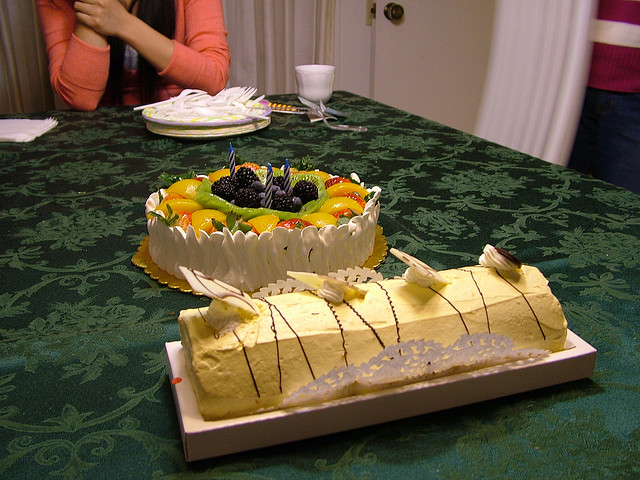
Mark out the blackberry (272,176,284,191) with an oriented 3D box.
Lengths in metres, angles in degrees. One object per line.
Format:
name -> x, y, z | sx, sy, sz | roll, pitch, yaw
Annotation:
blackberry -> -0.119, -0.159, 1.362 | 0.032, 0.023, 0.040 | 10, 23, -19

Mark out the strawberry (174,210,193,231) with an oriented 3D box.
strawberry -> -0.342, -0.054, 1.216 | 0.049, 0.022, 0.049 | 40, 39, 24

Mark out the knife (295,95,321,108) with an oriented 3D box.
knife -> -0.060, -0.712, 2.478 | 0.024, 0.009, 0.163 | -40, 60, -2

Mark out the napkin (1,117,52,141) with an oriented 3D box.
napkin -> -1.230, -0.477, 2.076 | 0.036, 0.056, 0.255 | 4, 27, 41

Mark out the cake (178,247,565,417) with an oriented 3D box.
cake -> 0.095, 0.119, 0.886 | 0.687, 0.244, 0.240 | -4, 21, -17

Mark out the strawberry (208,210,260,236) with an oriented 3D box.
strawberry -> -0.206, -0.036, 1.152 | 0.075, 0.030, 0.077 | 22, 27, 15

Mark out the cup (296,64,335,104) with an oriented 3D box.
cup -> -0.029, -0.803, 2.526 | 0.184, 0.167, 0.208 | -5, 34, -10

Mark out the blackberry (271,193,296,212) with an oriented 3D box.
blackberry -> -0.094, -0.099, 1.252 | 0.044, 0.041, 0.050 | -11, 12, -31

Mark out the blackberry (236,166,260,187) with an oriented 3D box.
blackberry -> -0.205, -0.175, 1.335 | 0.041, 0.031, 0.057 | -6, 22, -15

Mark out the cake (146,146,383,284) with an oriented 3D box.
cake -> -0.143, -0.171, 1.311 | 0.453, 0.202, 0.460 | -1, 18, -9

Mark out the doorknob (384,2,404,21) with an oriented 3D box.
doorknob -> 0.567, -1.781, 3.759 | 0.152, 0.129, 0.069 | 20, 26, 40
